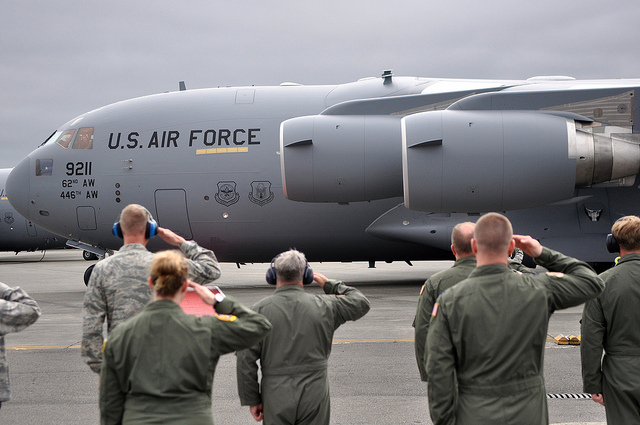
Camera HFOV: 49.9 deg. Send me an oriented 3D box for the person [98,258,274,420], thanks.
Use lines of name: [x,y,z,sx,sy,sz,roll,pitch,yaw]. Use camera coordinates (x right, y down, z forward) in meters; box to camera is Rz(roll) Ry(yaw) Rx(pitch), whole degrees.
person: [-1.448,1.270,7.013,1.557,1.624,0.377,-1,-1,-14]

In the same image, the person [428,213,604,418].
person: [1.976,1.092,7.372,1.672,2.128,0.400,-1,-1,-13]
